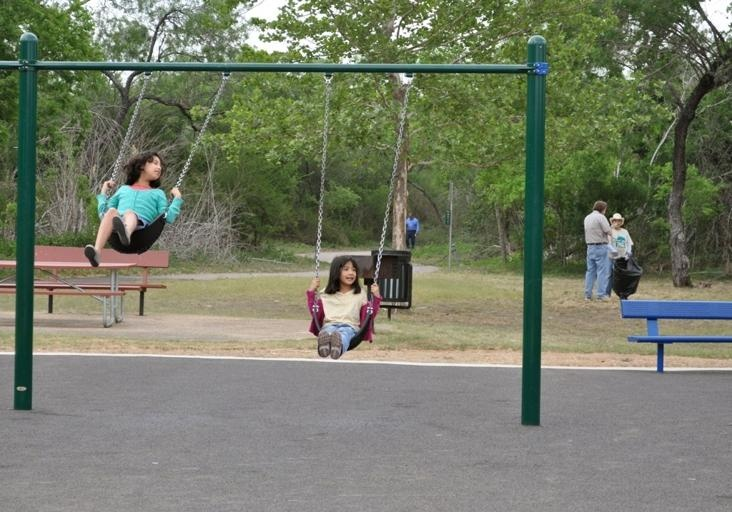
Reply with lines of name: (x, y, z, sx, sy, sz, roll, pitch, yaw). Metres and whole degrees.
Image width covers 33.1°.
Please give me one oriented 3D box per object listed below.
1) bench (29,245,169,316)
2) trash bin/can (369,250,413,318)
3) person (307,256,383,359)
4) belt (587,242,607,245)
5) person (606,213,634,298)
bench: (-5.896, 0.270, 26.766, 4.265, 1.959, 2.197, 1, 1, -5)
trash bin/can: (0.587, 0.582, 25.197, 0.846, 1.371, 0.990, 14, 23, 33)
person: (-0.375, 0.914, 19.791, 1.107, 1.693, 1.095, 1, 9, -3)
belt: (5.380, -0.272, 28.431, 0.396, 0.080, 0.119, 3, 8, 11)
person: (5.672, -0.062, 28.163, 0.581, 1.776, 0.815, 0, 0, 27)
